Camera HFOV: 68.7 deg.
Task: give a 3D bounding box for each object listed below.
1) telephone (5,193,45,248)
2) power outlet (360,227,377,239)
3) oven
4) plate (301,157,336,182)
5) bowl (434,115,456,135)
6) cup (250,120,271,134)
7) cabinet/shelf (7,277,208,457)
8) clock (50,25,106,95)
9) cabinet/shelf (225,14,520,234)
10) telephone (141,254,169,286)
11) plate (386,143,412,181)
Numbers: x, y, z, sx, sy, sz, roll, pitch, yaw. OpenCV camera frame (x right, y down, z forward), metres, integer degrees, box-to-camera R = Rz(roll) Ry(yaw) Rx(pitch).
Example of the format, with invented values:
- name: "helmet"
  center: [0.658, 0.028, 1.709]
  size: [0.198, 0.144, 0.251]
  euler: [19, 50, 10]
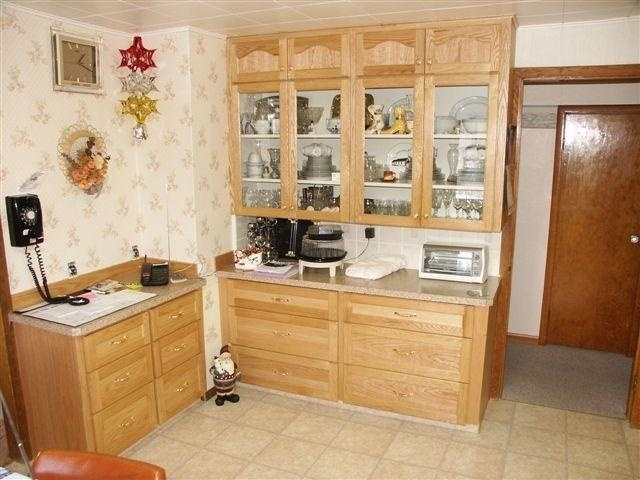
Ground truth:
- name: "telephone"
  center: [-1.931, -0.119, 3.055]
  size: [0.191, 0.357, 0.120]
  euler: [-11, 15, -40]
- name: "power outlet"
  center: [0.422, -0.066, 4.018]
  size: [0.119, 0.153, 0.087]
  euler: [1, 4, 40]
- name: "oven"
  center: [1.050, 0.174, 3.741]
  size: [0.483, 0.282, 0.277]
  euler: [4, 10, 21]
- name: "plate"
  center: [-0.010, -0.567, 3.779]
  size: [0.215, 0.138, 0.205]
  euler: [-2, 8, -14]
- name: "bowl"
  center: [0.913, -0.844, 3.430]
  size: [0.141, 0.089, 0.130]
  euler: [-1, 6, 0]
- name: "cup"
  center: [-0.493, -0.946, 3.893]
  size: [0.142, 0.085, 0.105]
  euler: [0, 12, 5]
- name: "cabinet/shelf"
  center: [-1.536, 0.950, 3.593]
  size: [0.731, 1.070, 1.182]
  euler: [6, 13, 27]
- name: "clock"
  center: [-1.721, -1.257, 3.313]
  size: [0.069, 0.410, 0.374]
  euler: [5, 12, 25]
- name: "cabinet/shelf"
  center: [0.447, -0.940, 3.556]
  size: [1.642, 1.046, 0.313]
  euler: [3, 10, 16]
- name: "telephone"
  center: [-1.302, 0.248, 3.667]
  size: [0.223, 0.158, 0.210]
  euler: [1, 7, -10]
- name: "plate"
  center: [0.581, -0.599, 3.522]
  size: [0.256, 0.244, 0.034]
  euler: [7, 12, 35]
